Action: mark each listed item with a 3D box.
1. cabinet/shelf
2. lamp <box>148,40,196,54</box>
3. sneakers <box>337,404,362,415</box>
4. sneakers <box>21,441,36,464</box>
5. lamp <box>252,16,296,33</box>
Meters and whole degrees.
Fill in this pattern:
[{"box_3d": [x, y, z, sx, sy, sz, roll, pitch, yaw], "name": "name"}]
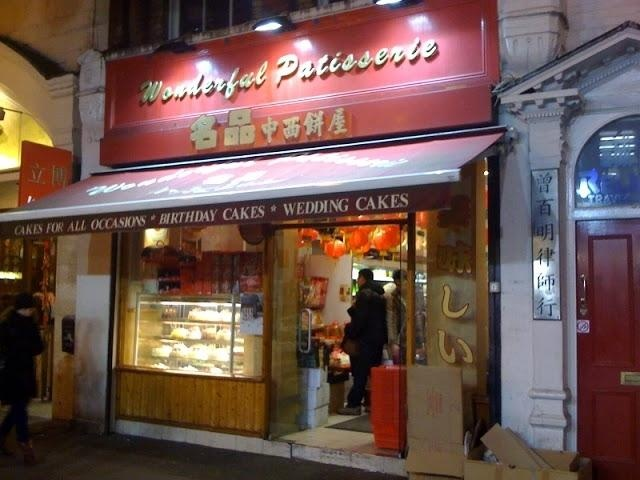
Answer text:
[{"box_3d": [-1.976, 1.518, 10.867, 1.743, 1.354, 1.051, 1, -4, 19], "name": "cabinet/shelf"}, {"box_3d": [-2.271, -3.022, 10.844, 0.326, 0.086, 0.307, -2, -2, 10], "name": "lamp"}, {"box_3d": [0.510, 2.772, 11.261, 0.350, 0.192, 0.147, 4, -5, 1], "name": "sneakers"}, {"box_3d": [-4.010, 2.926, 9.490, 0.161, 0.325, 0.116, -14, 11, -29], "name": "sneakers"}, {"box_3d": [-0.672, -3.137, 10.088, 0.594, 0.203, 0.429, -7, 11, 10], "name": "lamp"}]
